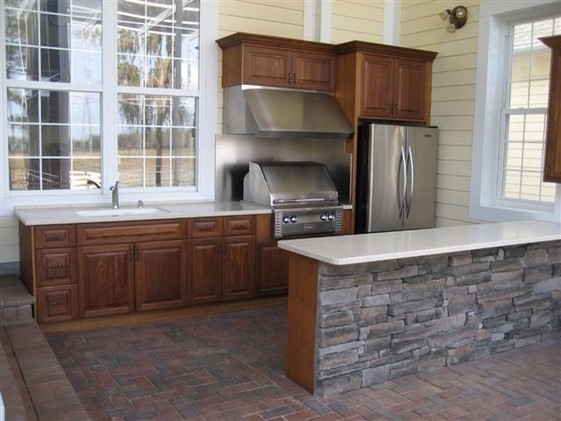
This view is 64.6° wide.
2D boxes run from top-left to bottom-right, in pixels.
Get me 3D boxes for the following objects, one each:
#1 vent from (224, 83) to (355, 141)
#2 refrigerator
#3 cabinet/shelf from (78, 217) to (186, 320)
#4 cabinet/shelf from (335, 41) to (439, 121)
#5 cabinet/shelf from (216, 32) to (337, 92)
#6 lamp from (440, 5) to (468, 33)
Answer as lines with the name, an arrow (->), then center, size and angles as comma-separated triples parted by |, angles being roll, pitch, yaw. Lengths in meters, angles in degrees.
vent -> 0.095, -1.154, 5.379 | 1.370, 0.498, 1.080 | -8, 16, -39
refrigerator -> 1.442, -0.396, 5.508 | 1.090, 1.315, 0.349 | -3, 12, -23
cabinet/shelf -> -1.509, 0.538, 4.338 | 1.150, 0.872, 0.486 | -1, 1, -27
cabinet/shelf -> 1.271, -1.572, 5.426 | 1.250, 0.949, 0.432 | -1, 4, -27
cabinet/shelf -> -0.002, -1.733, 5.336 | 1.554, 0.499, 0.521 | -8, 14, -35
lamp -> 2.093, -2.325, 5.403 | 0.346, 0.300, 0.208 | 10, 13, 41
